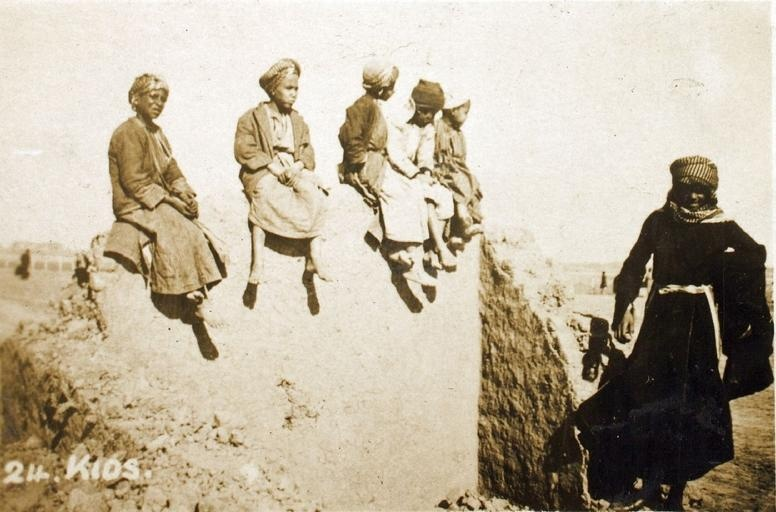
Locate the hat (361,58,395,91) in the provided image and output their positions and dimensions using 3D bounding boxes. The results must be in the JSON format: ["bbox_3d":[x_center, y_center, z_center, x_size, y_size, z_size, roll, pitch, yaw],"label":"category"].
[{"bbox_3d":[-0.101,-1.882,10.166,0.320,0.257,0.257,-22,41,-11],"label":"hat"}]

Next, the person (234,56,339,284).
[{"bbox_3d":[-1.100,-0.856,10.004,0.968,2.312,0.431,1,6,-12],"label":"person"}]
